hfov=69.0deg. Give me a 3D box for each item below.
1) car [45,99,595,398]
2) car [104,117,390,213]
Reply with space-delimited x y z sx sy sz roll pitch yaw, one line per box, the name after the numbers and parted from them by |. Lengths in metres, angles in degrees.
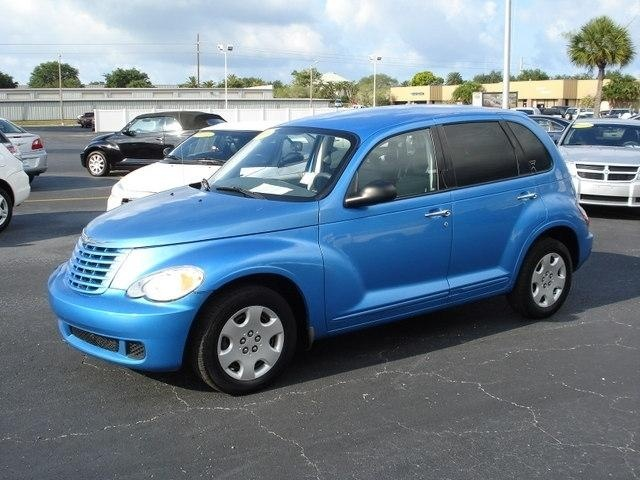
0.297 -0.337 4.773 4.875 1.718 2.514 -5 9 -26 | car
-1.826 -1.368 8.868 4.474 1.531 1.884 -1 8 -12 | car
